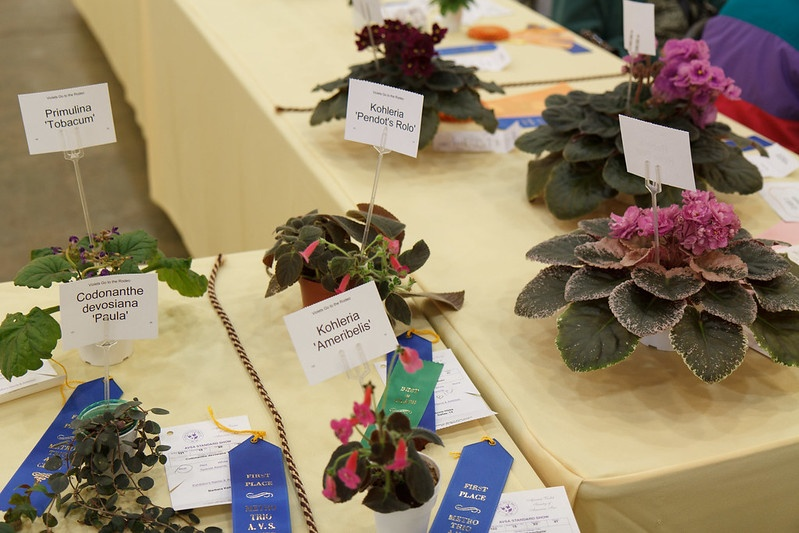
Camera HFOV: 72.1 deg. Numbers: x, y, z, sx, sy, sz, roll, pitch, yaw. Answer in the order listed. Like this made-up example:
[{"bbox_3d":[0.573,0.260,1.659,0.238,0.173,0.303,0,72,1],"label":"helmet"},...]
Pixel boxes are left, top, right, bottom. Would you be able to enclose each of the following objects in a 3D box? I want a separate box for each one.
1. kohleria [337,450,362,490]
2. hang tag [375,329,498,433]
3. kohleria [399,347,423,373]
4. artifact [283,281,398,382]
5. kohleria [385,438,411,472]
[{"bbox_3d":[-0.077,0.309,0.875,0.037,0.021,0.023,-23,8,11],"label":"kohleria"},{"bbox_3d":[0.099,0.242,1.198,0.187,0.011,0.225,-8,43,-25],"label":"hang tag"},{"bbox_3d":[0.016,0.146,0.908,0.030,0.047,0.012,-22,10,9],"label":"kohleria"},{"bbox_3d":[-0.106,0.125,1.019,0.188,0.144,0.090,-12,36,-17],"label":"artifact"},{"bbox_3d":[0.010,0.306,0.906,0.047,0.050,0.051,-9,54,25],"label":"kohleria"}]
